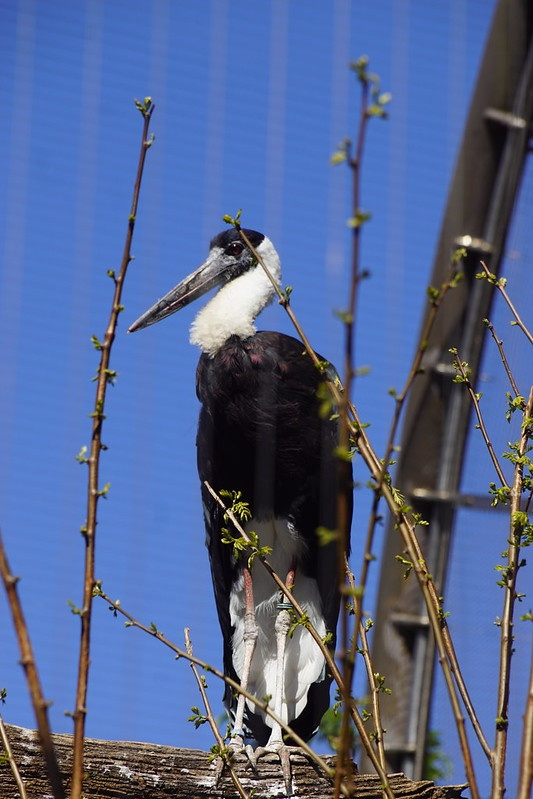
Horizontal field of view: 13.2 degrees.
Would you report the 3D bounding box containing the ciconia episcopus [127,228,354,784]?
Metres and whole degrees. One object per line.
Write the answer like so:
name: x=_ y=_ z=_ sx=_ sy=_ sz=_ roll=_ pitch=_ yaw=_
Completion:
ciconia episcopus: x=-0.008 y=0.688 z=10.913 sx=0.802 sy=3.253 sz=1.518 roll=-6 pitch=-50 yaw=0
